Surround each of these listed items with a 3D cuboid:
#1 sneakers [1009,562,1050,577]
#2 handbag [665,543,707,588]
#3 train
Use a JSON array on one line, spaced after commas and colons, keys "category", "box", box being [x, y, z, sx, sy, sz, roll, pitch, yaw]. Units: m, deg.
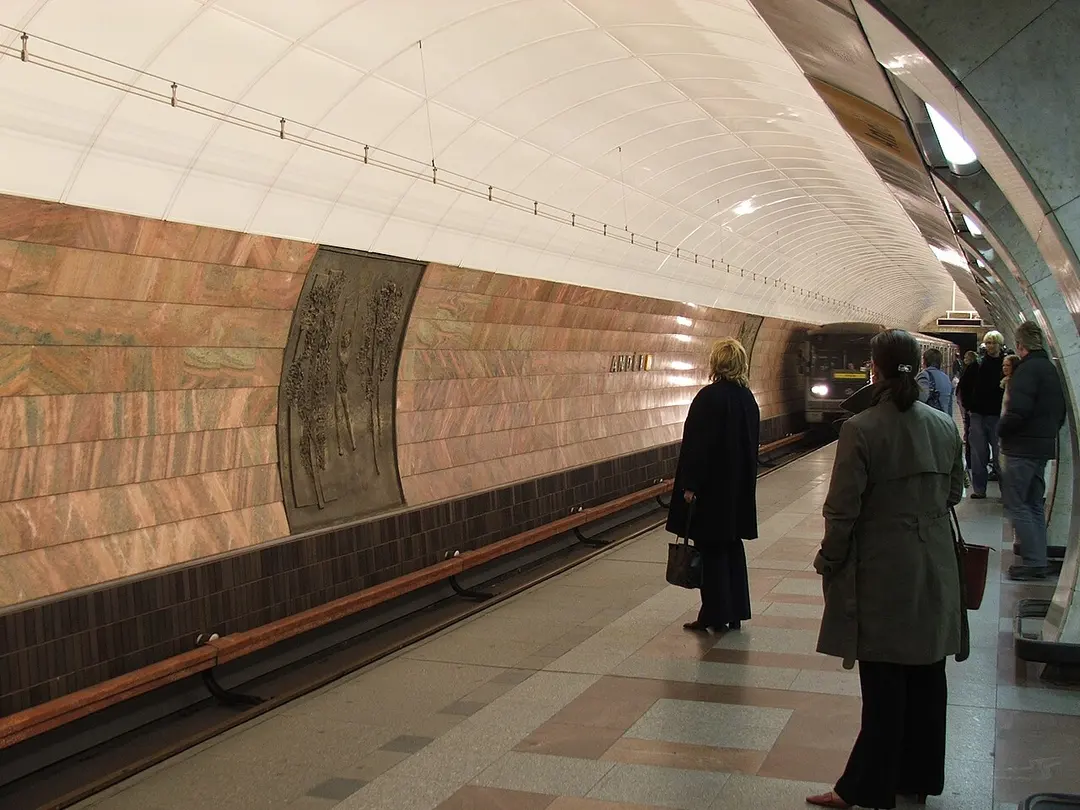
[{"category": "sneakers", "box": [5.233, 1.795, 6.925, 0.445, 0.168, 0.169, 3, -5, 9]}, {"category": "handbag", "box": [1.257, 1.414, 5.696, 0.294, 0.296, 0.304, -8, -4, 14]}, {"category": "train", "box": [18.654, -1.411, 35.733, 5.351, 5.641, 22.032, -1, -1, 32]}]
